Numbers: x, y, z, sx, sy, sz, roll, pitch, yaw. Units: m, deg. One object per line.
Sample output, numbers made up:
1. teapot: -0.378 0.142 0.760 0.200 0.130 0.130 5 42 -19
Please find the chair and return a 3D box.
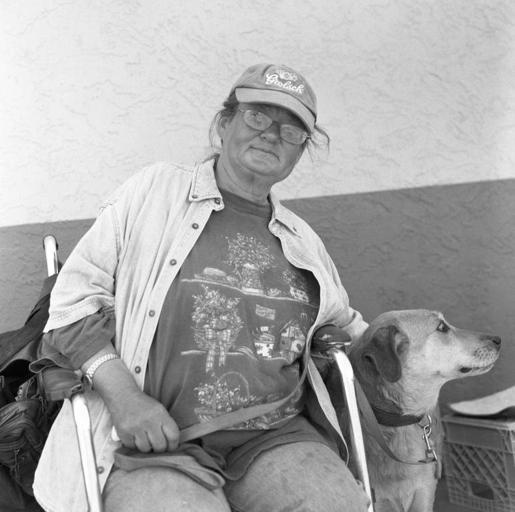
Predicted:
1. chair: -0.233 0.390 2.244 0.724 0.732 1.217 3 22 -11
